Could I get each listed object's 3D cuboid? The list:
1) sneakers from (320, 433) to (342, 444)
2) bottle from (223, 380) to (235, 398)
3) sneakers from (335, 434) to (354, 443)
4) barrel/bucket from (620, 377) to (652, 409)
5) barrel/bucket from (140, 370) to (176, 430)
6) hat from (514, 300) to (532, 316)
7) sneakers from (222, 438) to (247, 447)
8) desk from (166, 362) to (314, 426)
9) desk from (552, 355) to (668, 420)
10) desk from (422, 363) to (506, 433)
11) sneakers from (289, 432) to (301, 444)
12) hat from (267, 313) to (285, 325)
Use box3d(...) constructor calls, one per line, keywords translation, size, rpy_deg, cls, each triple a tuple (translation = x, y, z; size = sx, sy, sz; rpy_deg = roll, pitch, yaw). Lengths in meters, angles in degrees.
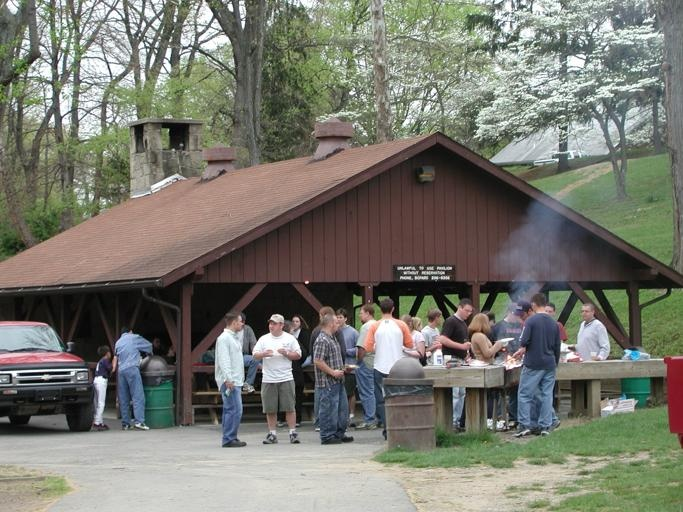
box3d(translation=(-0.190, 3.597, 25.378), size=(0.424, 0.190, 0.172), rpy_deg=(-2, 2, -8), cls="sneakers")
box3d(translation=(-2.199, 2.582, 24.988), size=(0.248, 0.268, 0.206), rpy_deg=(-3, -8, 4), cls="bottle")
box3d(translation=(0.083, 3.603, 25.473), size=(0.389, 0.177, 0.139), rpy_deg=(-1, 3, -15), cls="sneakers")
box3d(translation=(6.535, 3.016, 28.412), size=(0.605, 0.674, 0.623), rpy_deg=(1, -1, 0), cls="barrel/bucket")
box3d(translation=(-4.099, 3.160, 28.550), size=(0.761, 1.228, 0.764), rpy_deg=(-3, -3, 0), cls="barrel/bucket")
box3d(translation=(3.726, 1.058, 26.158), size=(0.332, 0.330, 0.264), rpy_deg=(-4, 2, 5), cls="hat")
box3d(translation=(-2.097, 3.668, 25.261), size=(0.455, 0.193, 0.167), rpy_deg=(-1, -2, -13), cls="sneakers")
box3d(translation=(-2.347, 3.061, 29.580), size=(0.940, 1.249, 2.739), rpy_deg=(-7, -1, -44), cls="desk")
box3d(translation=(5.675, 2.804, 27.193), size=(3.123, 1.184, 1.016), rpy_deg=(2, -9, -30), cls="desk")
box3d(translation=(2.466, 2.841, 25.364), size=(1.266, 1.317, 1.317), rpy_deg=(0, 0, 2), cls="desk")
box3d(translation=(-0.938, 3.635, 25.711), size=(0.145, 0.186, 0.430), rpy_deg=(-1, -10, -10), cls="sneakers")
box3d(translation=(-1.273, 1.252, 25.744), size=(0.233, 0.245, 0.735), rpy_deg=(-3, -8, 3), cls="hat")
